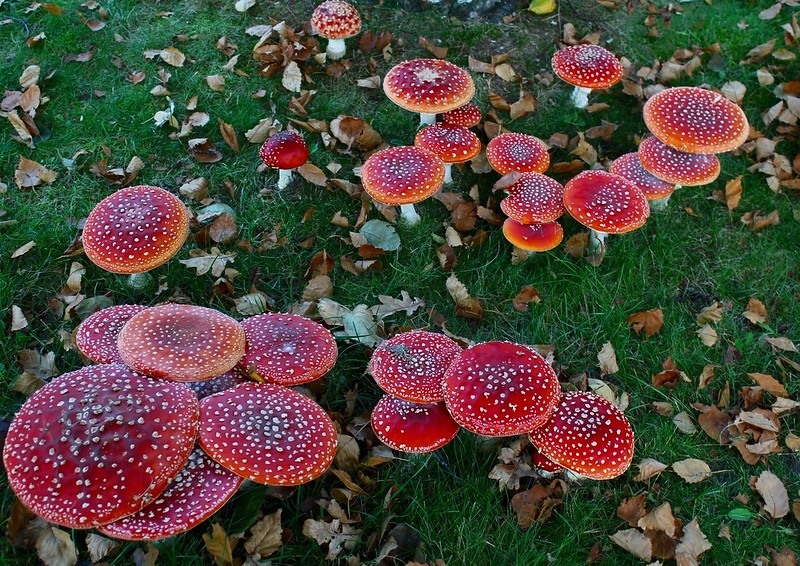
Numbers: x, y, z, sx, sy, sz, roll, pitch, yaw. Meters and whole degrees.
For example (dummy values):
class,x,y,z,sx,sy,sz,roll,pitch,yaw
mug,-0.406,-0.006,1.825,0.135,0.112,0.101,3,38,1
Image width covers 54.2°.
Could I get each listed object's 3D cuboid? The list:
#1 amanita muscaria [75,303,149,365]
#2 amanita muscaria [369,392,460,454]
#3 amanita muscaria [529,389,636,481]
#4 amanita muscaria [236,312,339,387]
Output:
class,x,y,z,sx,sy,sz,roll,pitch,yaw
amanita muscaria,-2.170,0.382,5.943,0.441,0.169,0.460,-9,63,-12
amanita muscaria,0.074,1.098,6.099,0.671,0.359,0.697,4,29,-13
amanita muscaria,1.395,1.118,6.016,0.773,0.449,0.786,-12,46,-2
amanita muscaria,-0.852,0.558,6.191,0.710,0.641,0.586,-3,73,0
